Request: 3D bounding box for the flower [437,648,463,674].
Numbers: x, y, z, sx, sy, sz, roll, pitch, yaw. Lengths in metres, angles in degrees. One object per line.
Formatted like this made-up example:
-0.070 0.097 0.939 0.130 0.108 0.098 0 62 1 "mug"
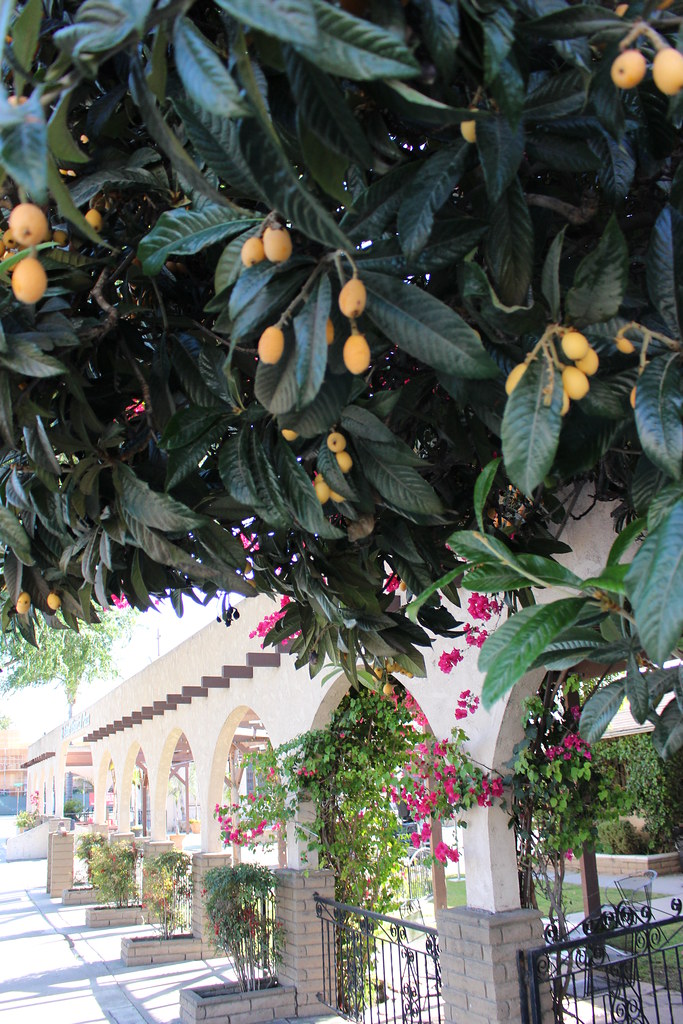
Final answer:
0.572 0.811 4.292 0.150 0.150 0.059 2 11 -8 "flower"
